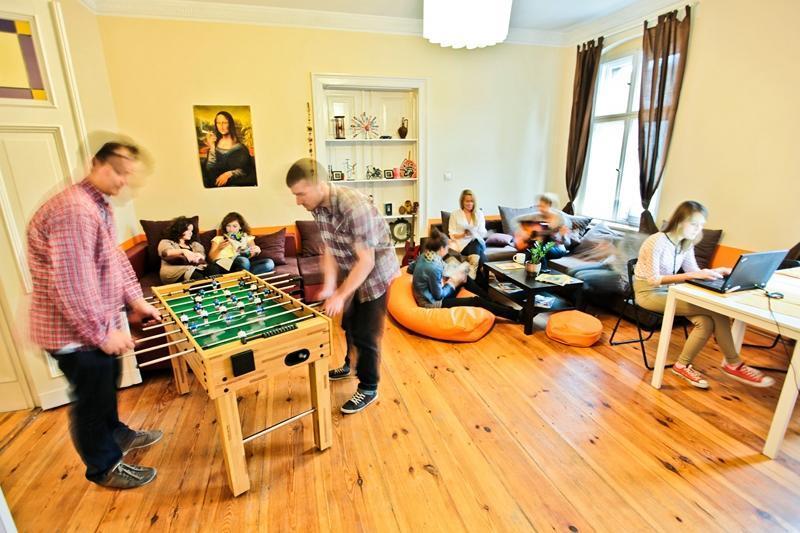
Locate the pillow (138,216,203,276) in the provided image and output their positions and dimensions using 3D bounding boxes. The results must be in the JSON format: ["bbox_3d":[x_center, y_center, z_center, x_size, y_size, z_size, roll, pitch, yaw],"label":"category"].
[{"bbox_3d":[-2.526,-0.209,5.525,0.695,0.636,0.250,-6,7,-27],"label":"pillow"}]

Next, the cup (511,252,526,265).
[{"bbox_3d":[1.378,-0.092,5.852,0.160,0.113,0.098,-3,18,-4],"label":"cup"}]

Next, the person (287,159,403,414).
[{"bbox_3d":[-0.448,0.199,4.135,0.762,2.106,0.700,4,17,9],"label":"person"}]

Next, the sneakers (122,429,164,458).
[{"bbox_3d":[-2.083,1.387,4.055,0.346,0.133,0.112,-12,35,-36],"label":"sneakers"}]

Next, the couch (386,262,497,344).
[{"bbox_3d":[0.393,0.431,5.708,1.398,0.401,1.414,-2,24,-32],"label":"couch"}]

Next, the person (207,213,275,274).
[{"bbox_3d":[-1.775,-0.213,5.623,0.650,0.883,0.851,-2,-8,-25],"label":"person"}]

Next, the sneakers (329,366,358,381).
[{"bbox_3d":[-0.539,0.970,4.691,0.277,0.106,0.092,-4,28,-24],"label":"sneakers"}]

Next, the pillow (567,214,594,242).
[{"bbox_3d":[2.386,-0.497,6.729,0.391,0.395,0.123,4,-28,34],"label":"pillow"}]

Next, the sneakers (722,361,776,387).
[{"bbox_3d":[3.025,0.921,4.465,0.454,0.176,0.182,11,34,44],"label":"sneakers"}]

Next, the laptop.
[{"bbox_3d":[2.818,-0.038,4.260,0.542,0.407,0.315,-5,40,-38],"label":"laptop"}]

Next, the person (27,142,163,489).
[{"bbox_3d":[-2.251,0.388,3.647,0.726,2.537,0.563,-2,17,-9],"label":"person"}]

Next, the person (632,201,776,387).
[{"bbox_3d":[2.710,0.218,4.518,0.705,1.465,1.423,-11,19,-24],"label":"person"}]

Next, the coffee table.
[{"bbox_3d":[1.475,0.216,5.562,0.790,0.578,1.196,-5,19,-16],"label":"coffee table"}]

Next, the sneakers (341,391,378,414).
[{"bbox_3d":[-0.357,1.158,4.309,0.369,0.140,0.133,-11,27,-32],"label":"sneakers"}]

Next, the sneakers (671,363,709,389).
[{"bbox_3d":[2.602,0.953,4.581,0.133,0.140,0.351,-19,30,-29],"label":"sneakers"}]

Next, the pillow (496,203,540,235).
[{"bbox_3d":[1.624,-0.655,7.000,0.590,0.393,0.197,-6,12,-18],"label":"pillow"}]

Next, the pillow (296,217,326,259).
[{"bbox_3d":[-1.158,-0.360,6.399,0.157,0.448,0.491,-7,-3,23],"label":"pillow"}]

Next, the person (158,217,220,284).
[{"bbox_3d":[-2.277,-0.187,5.373,0.571,0.604,0.736,-6,17,-25],"label":"person"}]
